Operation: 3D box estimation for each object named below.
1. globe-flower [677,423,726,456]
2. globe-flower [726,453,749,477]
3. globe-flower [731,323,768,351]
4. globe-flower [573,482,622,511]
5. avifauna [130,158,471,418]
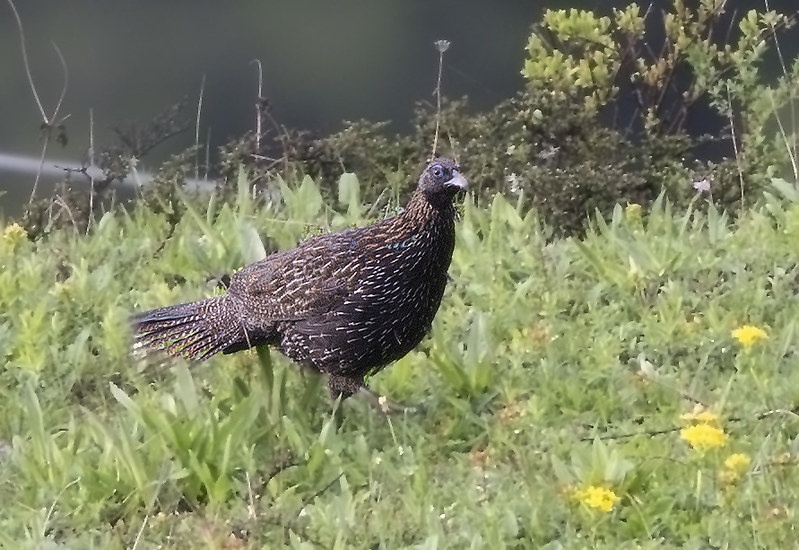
[{"bbox_3d":[1.341,0.707,3.937,0.198,0.114,0.177,3,6,11],"label":"globe-flower"},{"bbox_3d":[1.435,0.805,3.794,0.086,0.073,0.086,-26,-6,14],"label":"globe-flower"},{"bbox_3d":[1.789,0.312,4.529,0.210,0.100,0.114,-1,6,-22],"label":"globe-flower"},{"bbox_3d":[0.825,0.932,3.742,0.122,0.054,0.126,-12,27,-36],"label":"globe-flower"},{"bbox_3d":[-0.546,0.112,4.833,1.365,1.017,0.554,4,10,9],"label":"avifauna"}]
